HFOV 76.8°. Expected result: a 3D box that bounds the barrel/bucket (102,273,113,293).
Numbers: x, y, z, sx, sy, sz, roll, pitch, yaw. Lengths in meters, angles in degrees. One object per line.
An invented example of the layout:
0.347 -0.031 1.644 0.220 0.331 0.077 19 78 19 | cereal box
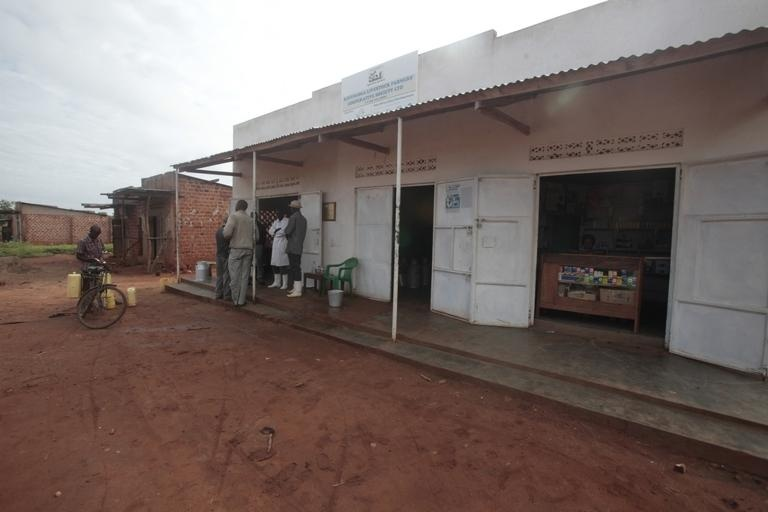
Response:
-6.243 0.653 10.909 0.258 0.442 0.473 2 -5 -27 | barrel/bucket

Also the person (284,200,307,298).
-2.189 -0.138 12.081 0.500 2.202 1.162 -2 7 -9 | person

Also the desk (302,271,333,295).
-1.676 0.690 12.295 0.585 0.552 0.760 -1 2 -40 | desk

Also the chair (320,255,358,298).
-1.085 0.568 11.815 0.824 0.891 0.817 5 7 14 | chair

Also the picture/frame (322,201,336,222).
-1.407 -1.055 12.550 0.549 0.529 0.055 1 1 42 | picture/frame

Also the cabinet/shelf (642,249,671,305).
6.364 0.619 11.323 0.486 1.092 0.534 3 8 31 | cabinet/shelf

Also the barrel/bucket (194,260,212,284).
-5.263 0.537 14.163 0.561 0.811 0.598 1 0 0 | barrel/bucket

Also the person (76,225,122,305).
-6.316 0.286 10.602 0.584 1.739 0.648 16 15 26 | person

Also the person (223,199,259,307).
-3.350 -0.010 11.299 0.690 2.366 0.511 -3 7 -15 | person

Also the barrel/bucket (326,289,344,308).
-1.088 0.978 10.909 0.315 0.342 0.414 -2 7 -9 | barrel/bucket

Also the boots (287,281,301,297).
-2.167 0.830 11.928 0.355 0.369 0.388 1 7 -25 | boots

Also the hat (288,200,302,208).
-2.260 -1.201 12.137 0.341 0.126 0.304 11 7 35 | hat
